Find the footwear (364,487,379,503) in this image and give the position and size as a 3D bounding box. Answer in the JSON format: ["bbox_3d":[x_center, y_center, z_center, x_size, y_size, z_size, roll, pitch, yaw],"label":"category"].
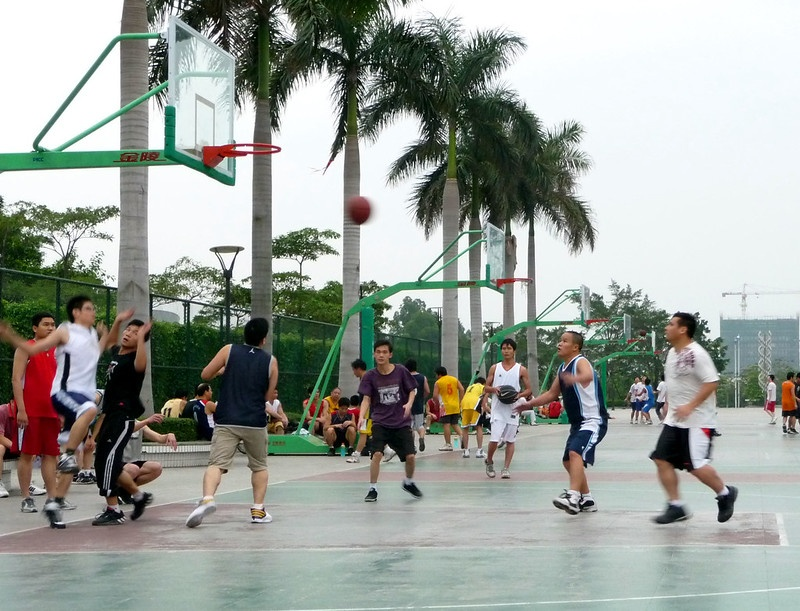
[{"bbox_3d":[-0.377,2.482,11.183,0.178,0.161,0.476,0,-3,-3],"label":"footwear"}]

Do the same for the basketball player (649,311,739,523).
[{"bbox_3d":[3.074,1.188,8.985,0.838,2.235,0.815,-1,-4,20],"label":"basketball player"}]

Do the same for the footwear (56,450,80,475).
[{"bbox_3d":[-3.604,1.715,9.234,0.399,0.286,0.138,2,-3,35],"label":"footwear"}]

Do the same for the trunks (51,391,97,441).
[{"bbox_3d":[-3.608,1.238,9.451,0.457,0.589,0.528,1,-4,-14],"label":"trunks"}]

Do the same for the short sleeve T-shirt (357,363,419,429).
[{"bbox_3d":[-0.155,1.262,11.655,0.901,0.890,0.474,-6,5,-14],"label":"short sleeve T-shirt"}]

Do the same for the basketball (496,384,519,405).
[{"bbox_3d":[1.673,1.419,13.235,0.318,0.264,0.271,10,40,24],"label":"basketball"}]

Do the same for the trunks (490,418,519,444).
[{"bbox_3d":[1.689,2.070,13.989,0.527,0.376,0.675,-3,-3,5],"label":"trunks"}]

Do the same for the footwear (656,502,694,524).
[{"bbox_3d":[2.874,2.187,8.990,0.351,0.229,0.306,0,-4,7],"label":"footwear"}]

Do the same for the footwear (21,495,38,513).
[{"bbox_3d":[-4.534,2.440,10.415,0.133,0.144,0.326,4,-9,-32],"label":"footwear"}]

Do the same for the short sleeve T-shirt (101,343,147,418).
[{"bbox_3d":[-3.043,0.826,9.585,0.613,1.004,0.798,3,-5,-17],"label":"short sleeve T-shirt"}]

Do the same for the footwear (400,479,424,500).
[{"bbox_3d":[0.148,2.465,11.375,0.364,0.155,0.141,37,7,-6],"label":"footwear"}]

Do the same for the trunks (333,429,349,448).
[{"bbox_3d":[-1.325,3.083,19.817,0.411,0.512,0.378,1,-17,2],"label":"trunks"}]

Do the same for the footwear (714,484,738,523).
[{"bbox_3d":[3.423,2.054,8.895,0.221,0.513,0.173,1,3,-9],"label":"footwear"}]

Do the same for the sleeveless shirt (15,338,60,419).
[{"bbox_3d":[-4.492,0.945,10.581,0.285,0.881,0.383,-4,-12,33],"label":"sleeveless shirt"}]

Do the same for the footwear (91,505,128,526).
[{"bbox_3d":[-3.109,2.274,9.130,0.385,0.185,0.140,1,-4,-4],"label":"footwear"}]

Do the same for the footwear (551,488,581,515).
[{"bbox_3d":[1.853,2.193,9.483,0.171,0.215,0.483,-18,-35,37],"label":"footwear"}]

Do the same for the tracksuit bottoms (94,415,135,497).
[{"bbox_3d":[-3.090,1.580,9.240,0.333,0.885,0.397,3,4,-11],"label":"tracksuit bottoms"}]

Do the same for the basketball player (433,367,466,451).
[{"bbox_3d":[1.233,2.496,20.796,0.714,2.044,0.700,-2,-10,-5],"label":"basketball player"}]

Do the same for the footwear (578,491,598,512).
[{"bbox_3d":[2.200,2.312,9.954,0.129,0.162,0.336,1,-1,28],"label":"footwear"}]

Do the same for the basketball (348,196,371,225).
[{"bbox_3d":[-0.817,-1.968,17.645,0.435,0.608,0.548,3,-5,-39],"label":"basketball"}]

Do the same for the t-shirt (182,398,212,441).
[{"bbox_3d":[-4.140,2.365,17.776,0.610,0.852,0.435,-5,5,29],"label":"t-shirt"}]

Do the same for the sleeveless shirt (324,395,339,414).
[{"bbox_3d":[-1.672,2.448,20.917,0.466,0.588,0.324,2,-6,-3],"label":"sleeveless shirt"}]

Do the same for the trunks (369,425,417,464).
[{"bbox_3d":[-0.097,1.868,11.537,0.576,0.508,0.395,0,-4,-5],"label":"trunks"}]

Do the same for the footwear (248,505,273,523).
[{"bbox_3d":[-1.509,2.272,9.251,0.109,0.139,0.309,0,-1,17],"label":"footwear"}]

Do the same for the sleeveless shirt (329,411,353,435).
[{"bbox_3d":[-1.334,2.711,19.995,0.418,0.467,0.446,1,-21,-2],"label":"sleeveless shirt"}]

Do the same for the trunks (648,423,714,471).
[{"bbox_3d":[3.020,1.510,9.071,0.598,0.564,0.346,-2,-31,36],"label":"trunks"}]

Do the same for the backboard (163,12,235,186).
[{"bbox_3d":[-2.691,-2.753,11.550,0.523,2.072,1.748,-1,-4,12],"label":"backboard"}]

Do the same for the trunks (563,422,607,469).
[{"bbox_3d":[2.156,1.609,9.869,0.494,0.540,0.513,-1,-4,10],"label":"trunks"}]

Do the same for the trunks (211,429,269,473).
[{"bbox_3d":[-1.723,1.535,9.105,0.590,0.525,0.238,1,-4,-17],"label":"trunks"}]

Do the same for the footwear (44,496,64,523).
[{"bbox_3d":[-3.714,2.188,9.124,0.126,0.374,0.263,-7,7,-13],"label":"footwear"}]

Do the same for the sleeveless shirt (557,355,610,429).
[{"bbox_3d":[2.182,1.047,10.095,0.473,0.840,0.521,3,-15,-25],"label":"sleeveless shirt"}]
